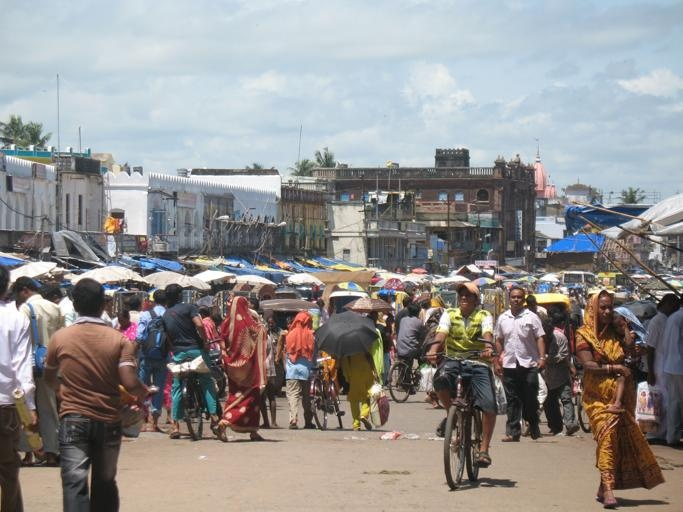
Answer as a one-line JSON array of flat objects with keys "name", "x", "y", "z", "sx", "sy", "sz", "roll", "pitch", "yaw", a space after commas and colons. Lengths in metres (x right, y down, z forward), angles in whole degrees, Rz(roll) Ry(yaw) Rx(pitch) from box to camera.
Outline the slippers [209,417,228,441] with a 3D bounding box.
[{"name": "slippers", "x": -1.758, "y": 2.485, "z": 18.664, "sx": 0.151, "sy": 0.314, "sz": 0.452, "roll": -4, "pitch": -30, "yaw": 3}]

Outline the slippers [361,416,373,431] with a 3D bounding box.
[{"name": "slippers", "x": 0.350, "y": 2.541, "z": 19.775, "sx": 0.108, "sy": 0.135, "sz": 0.323, "roll": -23, "pitch": -54, "yaw": 3}]

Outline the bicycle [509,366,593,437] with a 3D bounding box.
[{"name": "bicycle", "x": 3.102, "y": 2.183, "z": 19.322, "sx": 0.720, "sy": 0.974, "sz": 1.572, "roll": -5, "pitch": -9, "yaw": 24}]

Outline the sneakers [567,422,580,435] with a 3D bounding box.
[{"name": "sneakers", "x": 3.390, "y": 2.556, "z": 19.277, "sx": 0.092, "sy": 0.108, "sz": 0.271, "roll": -3, "pitch": -34, "yaw": -8}]

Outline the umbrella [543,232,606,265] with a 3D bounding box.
[{"name": "umbrella", "x": 8.918, "y": -0.076, "z": 51.340, "sx": 3.086, "sy": 1.034, "sz": 3.099, "roll": -1, "pitch": 0, "yaw": 21}]
